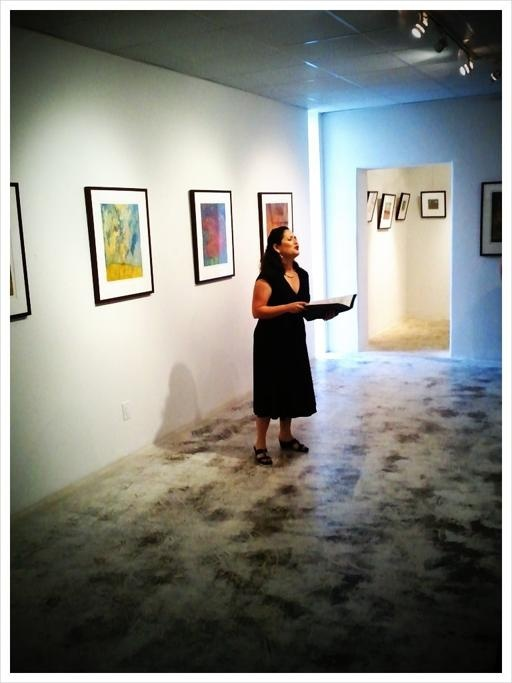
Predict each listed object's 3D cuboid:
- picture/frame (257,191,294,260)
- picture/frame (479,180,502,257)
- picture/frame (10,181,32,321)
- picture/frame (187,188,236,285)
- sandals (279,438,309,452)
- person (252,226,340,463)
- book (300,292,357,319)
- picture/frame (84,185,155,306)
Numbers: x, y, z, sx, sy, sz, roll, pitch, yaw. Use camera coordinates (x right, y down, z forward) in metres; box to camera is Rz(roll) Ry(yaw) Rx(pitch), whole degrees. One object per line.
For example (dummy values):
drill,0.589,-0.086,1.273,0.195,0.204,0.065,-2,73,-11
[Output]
picture/frame,0.256,-1.418,5.842,0.018,0.527,0.555,-19,23,-35
picture/frame,2.776,-1.455,6.076,0.200,0.890,0.114,-2,4,2
picture/frame,-1.324,-0.495,2.839,0.093,0.762,0.197,-3,5,-19
picture/frame,-0.422,-0.964,4.667,0.025,0.861,0.684,4,13,23
sandals,0.277,0.740,3.790,0.192,0.116,0.092,-1,8,17
person,0.202,0.038,3.478,0.454,1.617,0.682,-2,5,-4
book,0.455,-0.214,3.294,0.307,0.150,0.389,-3,6,6
picture/frame,-0.946,-0.695,3.643,0.020,0.784,0.623,3,10,23
